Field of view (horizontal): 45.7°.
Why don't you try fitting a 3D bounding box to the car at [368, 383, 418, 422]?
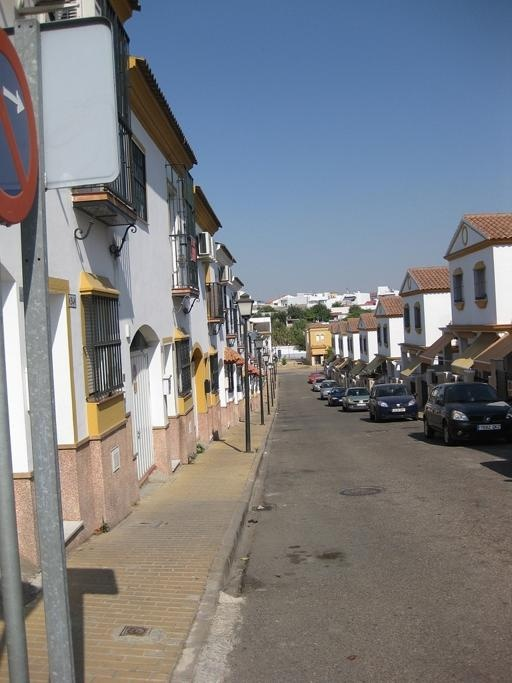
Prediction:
[{"bbox_3d":[5.897,2.666,26.280,1.637,1.072,2.432,-4,-4,-1],"label":"car"}]
